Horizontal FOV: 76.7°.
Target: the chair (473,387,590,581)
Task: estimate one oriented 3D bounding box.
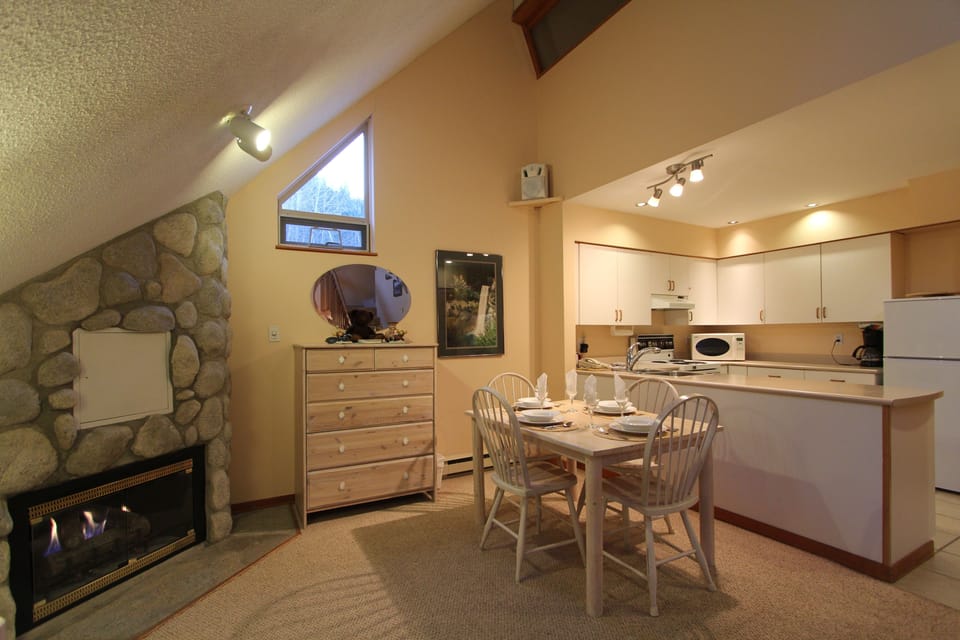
[{"bbox_3d":[0.348,1.119,4.396,0.686,1.216,0.658,-2,1,-16],"label":"chair"}]

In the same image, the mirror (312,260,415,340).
[{"bbox_3d":[-1.083,-0.181,5.370,0.749,0.547,0.095,1,-2,-24],"label":"mirror"}]

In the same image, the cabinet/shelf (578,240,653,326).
[{"bbox_3d":[1.370,-0.317,6.411,0.971,0.821,0.345,3,-4,-27],"label":"cabinet/shelf"}]

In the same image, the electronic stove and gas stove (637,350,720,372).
[{"bbox_3d":[2.057,0.439,6.301,0.747,0.196,1.454,2,2,26],"label":"electronic stove and gas stove"}]

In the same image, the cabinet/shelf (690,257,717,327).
[{"bbox_3d":[2.670,-0.309,7.152,0.402,0.722,0.425,0,2,18],"label":"cabinet/shelf"}]

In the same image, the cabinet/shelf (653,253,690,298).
[{"bbox_3d":[2.089,-0.494,6.644,0.526,0.443,0.213,0,0,-28],"label":"cabinet/shelf"}]

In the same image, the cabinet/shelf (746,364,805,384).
[{"bbox_3d":[3.016,0.523,6.251,0.168,0.118,0.653,0,2,-27],"label":"cabinet/shelf"}]

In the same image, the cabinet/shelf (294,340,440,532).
[{"bbox_3d":[-0.966,0.944,4.936,1.454,1.670,0.682,0,-3,-26],"label":"cabinet/shelf"}]

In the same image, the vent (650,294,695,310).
[{"bbox_3d":[2.152,-0.211,6.686,0.176,0.167,0.713,3,3,43],"label":"vent"}]

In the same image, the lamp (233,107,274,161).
[{"bbox_3d":[-1.467,-1.209,3.871,0.311,0.300,0.178,-3,10,-10],"label":"lamp"}]

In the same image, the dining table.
[{"bbox_3d":[0.925,1.435,4.328,1.297,1.061,1.713,1,-3,-26],"label":"dining table"}]

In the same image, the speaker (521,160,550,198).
[{"bbox_3d":[0.572,-1.397,6.161,0.314,0.391,0.243,1,3,5],"label":"speaker"}]

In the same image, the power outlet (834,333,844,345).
[{"bbox_3d":[3.731,0.194,6.283,0.068,0.132,0.132,2,-3,-23],"label":"power outlet"}]

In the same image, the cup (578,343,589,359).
[{"bbox_3d":[1.069,0.302,6.255,0.089,0.155,0.197,1,2,15],"label":"cup"}]
